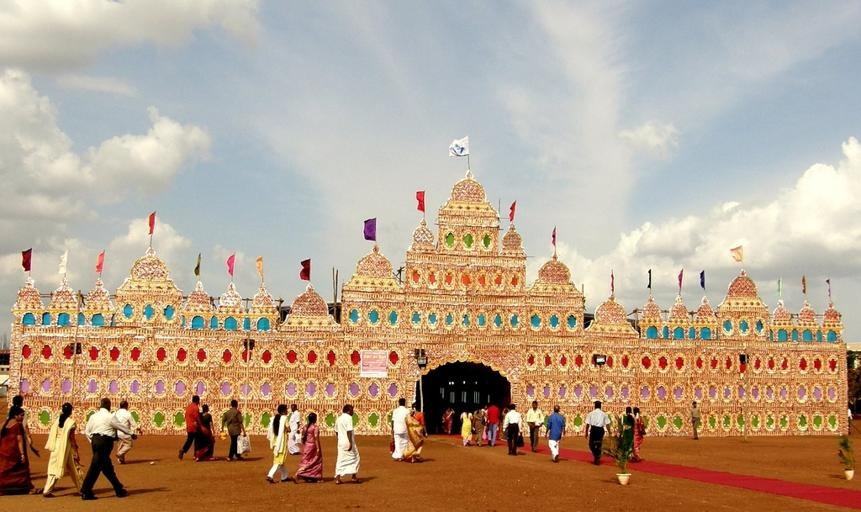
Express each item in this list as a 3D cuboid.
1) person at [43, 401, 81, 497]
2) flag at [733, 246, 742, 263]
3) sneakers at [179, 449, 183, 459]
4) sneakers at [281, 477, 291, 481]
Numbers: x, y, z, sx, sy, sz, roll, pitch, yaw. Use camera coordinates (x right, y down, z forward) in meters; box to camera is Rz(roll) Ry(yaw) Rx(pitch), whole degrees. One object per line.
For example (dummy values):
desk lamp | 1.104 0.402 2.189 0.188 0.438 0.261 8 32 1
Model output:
person | -13.496 7.173 36.661 1.207 3.357 1.384 6 -14 -21
flag | 13.886 -0.083 45.215 0.238 0.723 0.743 5 -6 -6
sneakers | -10.683 8.474 42.336 0.146 0.396 0.287 -1 -10 4
sneakers | -5.583 8.638 38.340 0.352 0.225 0.113 0 14 -10
